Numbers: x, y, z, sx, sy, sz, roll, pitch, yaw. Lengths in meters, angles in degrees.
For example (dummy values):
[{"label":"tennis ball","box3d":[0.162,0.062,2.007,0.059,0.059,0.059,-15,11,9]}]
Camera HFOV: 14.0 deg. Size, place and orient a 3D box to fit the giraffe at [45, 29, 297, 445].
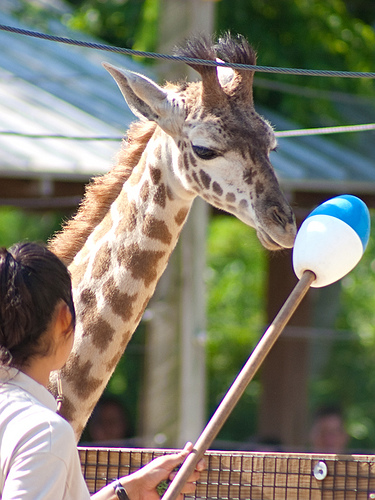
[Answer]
[{"label":"giraffe","box3d":[-0.206,0.009,9.940,1.358,2.599,0.774,11,1,-6]}]
